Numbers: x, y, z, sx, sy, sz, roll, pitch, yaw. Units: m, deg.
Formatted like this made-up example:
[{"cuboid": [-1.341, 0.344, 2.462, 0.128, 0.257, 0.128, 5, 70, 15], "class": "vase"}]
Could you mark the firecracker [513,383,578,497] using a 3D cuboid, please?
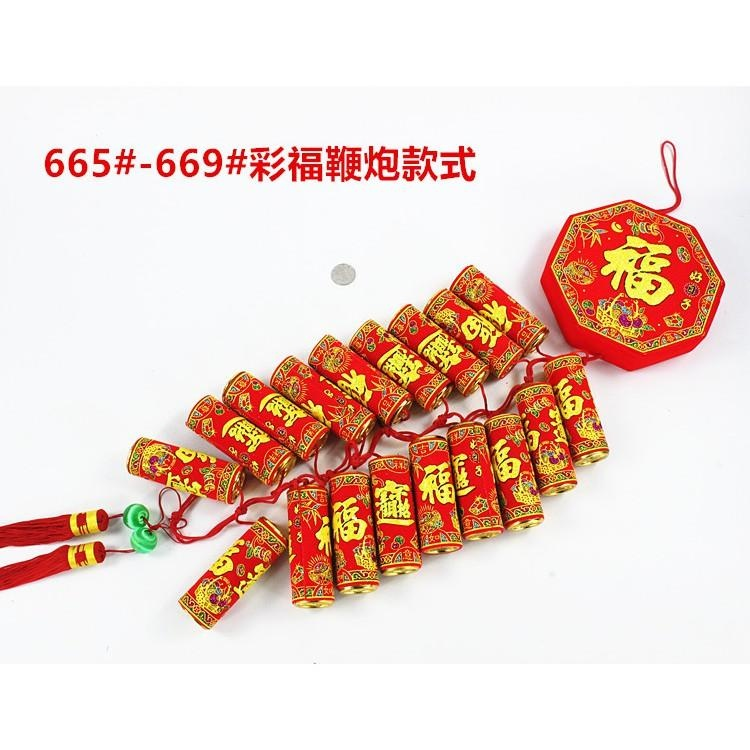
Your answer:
[{"cuboid": [0.528, 0.197, 2.380, 0.144, 0.130, 0.372, -8, 73, 1], "class": "firecracker"}]

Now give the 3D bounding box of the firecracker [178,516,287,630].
[{"cuboid": [-0.403, 0.591, 2.301, 0.411, 0.098, 0.182, -41, 86, -14], "class": "firecracker"}]

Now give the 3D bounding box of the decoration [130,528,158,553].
[{"cuboid": [-0.709, 0.508, 2.340, 0.082, 0.095, 0.076, 9, 60, -6], "class": "decoration"}]

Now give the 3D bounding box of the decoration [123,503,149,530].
[{"cuboid": [-0.732, 0.438, 2.341, 0.058, 0.079, 0.080, 5, 15, 20], "class": "decoration"}]
